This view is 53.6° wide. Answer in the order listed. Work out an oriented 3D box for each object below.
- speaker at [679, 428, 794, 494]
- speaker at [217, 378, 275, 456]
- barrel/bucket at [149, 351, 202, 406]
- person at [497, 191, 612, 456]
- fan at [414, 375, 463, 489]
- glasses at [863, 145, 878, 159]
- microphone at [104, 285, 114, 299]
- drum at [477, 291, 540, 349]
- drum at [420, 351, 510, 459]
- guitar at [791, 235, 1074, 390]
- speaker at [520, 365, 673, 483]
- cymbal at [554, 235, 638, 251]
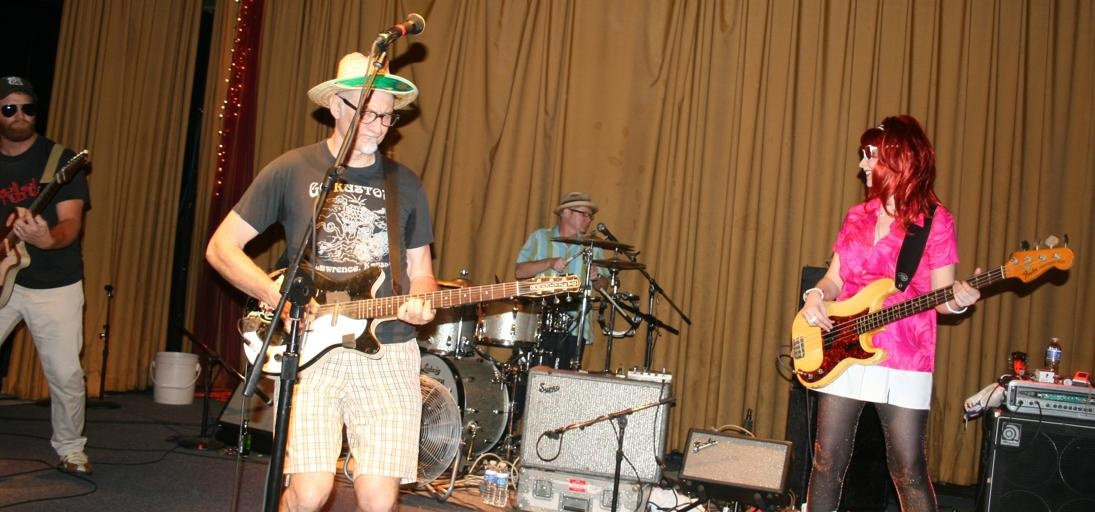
[{"bbox_3d":[2.322,2.550,13.339,1.404,0.875,0.699,-1,-2,8],"label":"speaker"},{"bbox_3d":[-3.996,2.144,14.296,0.725,1.691,0.799,1,-1,-11],"label":"speaker"},{"bbox_3d":[-5.459,1.787,15.988,0.734,0.698,0.710,2,2,0],"label":"barrel/bucket"},{"bbox_3d":[0.194,0.723,14.976,1.028,3.788,1.508,0,0,-27],"label":"person"},{"bbox_3d":[-1.388,2.203,13.591,1.064,1.176,0.273,-1,-3,1],"label":"fan"},{"bbox_3d":[3.771,-1.216,12.674,0.108,0.160,0.058,5,27,24],"label":"glasses"},{"bbox_3d":[-6.270,0.501,15.543,0.080,0.240,0.154,-5,15,-44],"label":"microphone"},{"bbox_3d":[-0.525,0.855,14.414,0.659,0.524,0.672,2,-3,0],"label":"drum"},{"bbox_3d":[-1.115,1.814,14.362,0.831,1.683,1.104,-2,0,-40],"label":"drum"},{"bbox_3d":[4.810,0.723,13.384,1.831,0.643,0.275,-20,-18,10],"label":"guitar"},{"bbox_3d":[0.629,2.227,14.125,1.963,1.470,1.210,5,-10,10],"label":"speaker"},{"bbox_3d":[0.638,-0.168,14.351,1.043,0.113,0.652,8,-4,-28],"label":"cymbal"}]
